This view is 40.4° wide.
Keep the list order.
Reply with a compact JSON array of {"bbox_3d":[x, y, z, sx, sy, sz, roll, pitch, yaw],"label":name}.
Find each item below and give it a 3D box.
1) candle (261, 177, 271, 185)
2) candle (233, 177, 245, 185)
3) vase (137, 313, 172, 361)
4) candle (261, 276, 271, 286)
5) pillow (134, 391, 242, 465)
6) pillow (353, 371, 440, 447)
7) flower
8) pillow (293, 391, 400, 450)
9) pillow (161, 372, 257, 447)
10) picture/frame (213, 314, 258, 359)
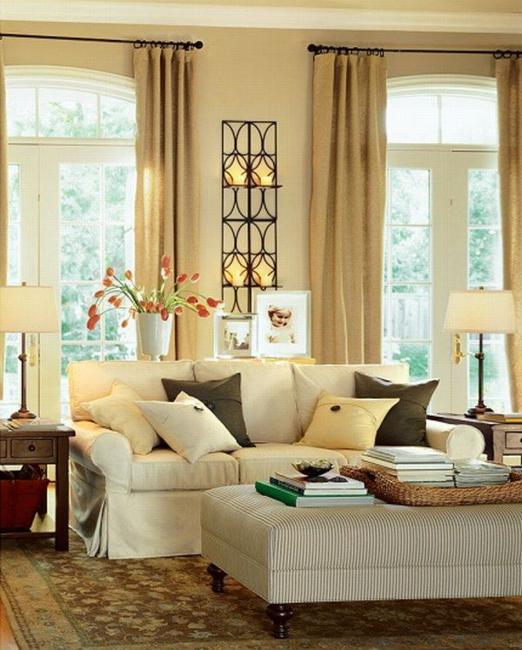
[{"bbox_3d":[0.039,-1.034,5.045,0.083,0.066,0.076,0,-4,7],"label":"candle"},{"bbox_3d":[-0.153,-1.024,4.990,0.066,0.040,0.060,1,1,-2],"label":"candle"},{"bbox_3d":[-0.607,0.061,4.003,0.182,0.269,0.232,2,-6,-9],"label":"vase"},{"bbox_3d":[0.034,-0.319,5.061,0.078,0.063,0.073,2,-8,-3],"label":"candle"},{"bbox_3d":[-0.333,0.488,3.297,0.325,0.264,0.350,-3,-7,31],"label":"pillow"},{"bbox_3d":[0.701,0.454,3.787,0.470,0.362,0.236,3,-6,17],"label":"pillow"},{"bbox_3d":[-0.606,-0.189,4.289,0.559,0.224,0.631,19,-32,-39],"label":"flower"},{"bbox_3d":[0.428,0.491,3.629,0.423,0.309,0.204,-1,-19,42],"label":"pillow"},{"bbox_3d":[-0.270,0.433,3.592,0.412,0.346,0.124,3,-37,-43],"label":"pillow"},{"bbox_3d":[-0.146,0.059,4.431,0.302,0.280,0.034,0,-2,29],"label":"picture/frame"}]
